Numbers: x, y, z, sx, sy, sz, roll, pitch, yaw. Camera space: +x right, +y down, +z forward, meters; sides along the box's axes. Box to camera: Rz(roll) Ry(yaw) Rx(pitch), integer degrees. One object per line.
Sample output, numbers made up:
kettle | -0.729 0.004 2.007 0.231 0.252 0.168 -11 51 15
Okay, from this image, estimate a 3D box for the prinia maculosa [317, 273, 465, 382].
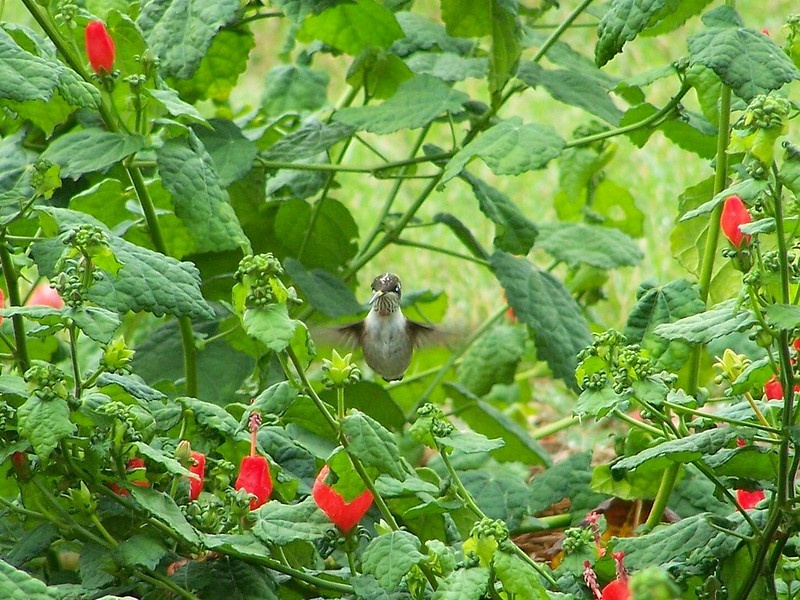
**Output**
prinia maculosa | -0.051 0.089 3.004 0.331 0.282 0.300 -1 34 4
